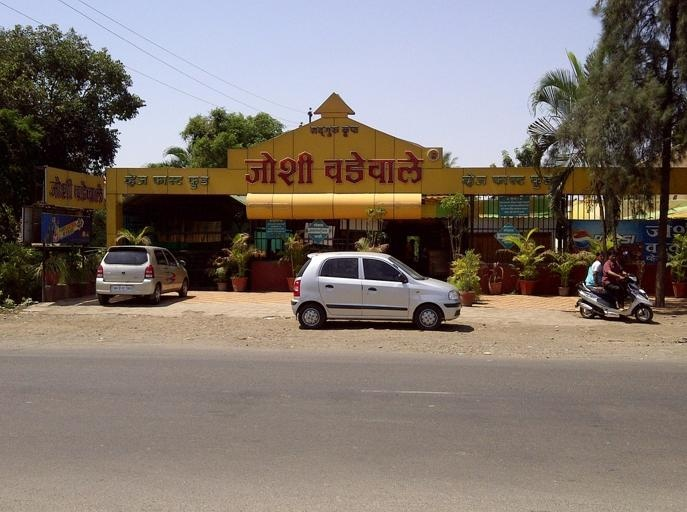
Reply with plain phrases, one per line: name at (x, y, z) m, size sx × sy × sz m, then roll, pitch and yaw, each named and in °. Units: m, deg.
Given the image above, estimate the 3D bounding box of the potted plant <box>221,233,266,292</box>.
potted plant at (-4.025, 0.275, 25.814) m, size 1.765 × 2.441 × 1.841 m, roll 0°, pitch -4°, yaw -3°

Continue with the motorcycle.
motorcycle at (7.215, 1.062, 17.848) m, size 1.926 × 1.315 × 0.832 m, roll 3°, pitch 12°, yaw 29°

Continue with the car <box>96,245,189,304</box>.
car at (-6.168, 0.502, 21.227) m, size 1.367 × 1.238 × 2.783 m, roll -1°, pitch 3°, yaw 8°

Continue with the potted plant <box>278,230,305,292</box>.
potted plant at (-1.816, 0.323, 24.939) m, size 0.722 × 2.004 × 0.868 m, roll 2°, pitch 1°, yaw 20°

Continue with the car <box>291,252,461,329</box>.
car at (0.711, 0.869, 16.466) m, size 3.333 × 1.743 × 1.913 m, roll -1°, pitch -1°, yaw 2°
